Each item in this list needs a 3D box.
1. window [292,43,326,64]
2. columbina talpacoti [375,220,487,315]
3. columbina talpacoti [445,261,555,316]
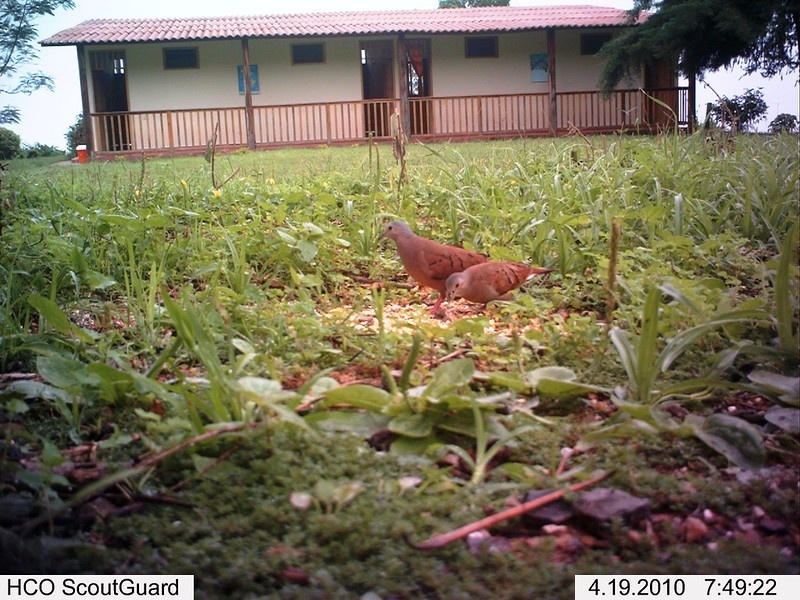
[{"bbox_3d":[-0.391,-1.077,2.633,0.155,0.094,0.016,0,4,31],"label":"window"},{"bbox_3d":[0.161,-0.170,2.650,0.460,0.409,0.216,-7,12,-12],"label":"columbina talpacoti"},{"bbox_3d":[0.379,-0.079,2.478,0.522,0.170,0.125,-5,4,-37],"label":"columbina talpacoti"}]
